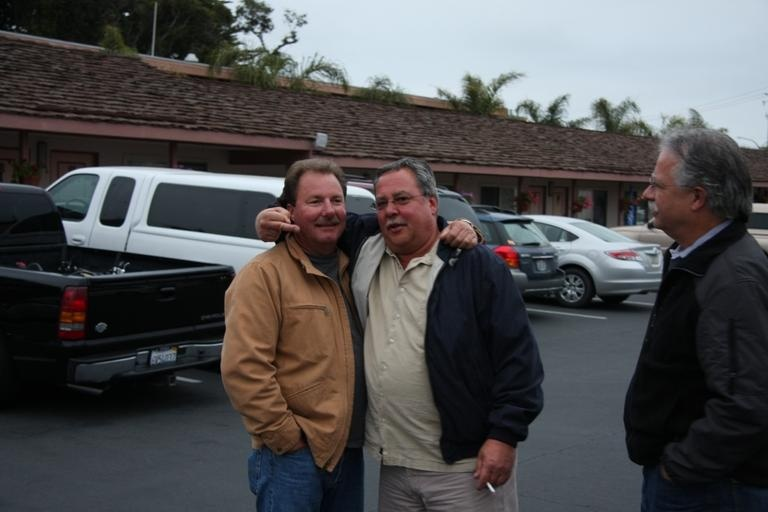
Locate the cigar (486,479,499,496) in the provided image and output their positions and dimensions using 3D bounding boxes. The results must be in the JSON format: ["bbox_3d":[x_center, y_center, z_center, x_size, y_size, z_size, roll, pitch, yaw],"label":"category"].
[{"bbox_3d":[0.546,1.163,3.130,0.092,0.028,0.064,28,-17,-30],"label":"cigar"}]

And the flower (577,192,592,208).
[{"bbox_3d":[8.454,-2.364,26.143,0.840,0.348,0.851,-5,44,13],"label":"flower"}]

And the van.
[{"bbox_3d":[-3.007,-0.422,9.373,4.385,1.718,1.972,13,16,24],"label":"van"}]
